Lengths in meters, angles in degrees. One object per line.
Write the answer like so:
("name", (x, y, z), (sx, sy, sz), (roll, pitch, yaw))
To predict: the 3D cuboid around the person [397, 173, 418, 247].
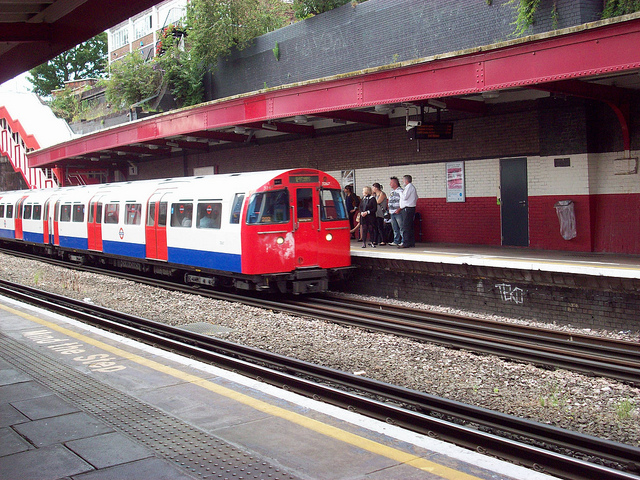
("person", (2.452, -0.832, 15.134), (0.508, 1.470, 0.667), (-2, 1, 5))
